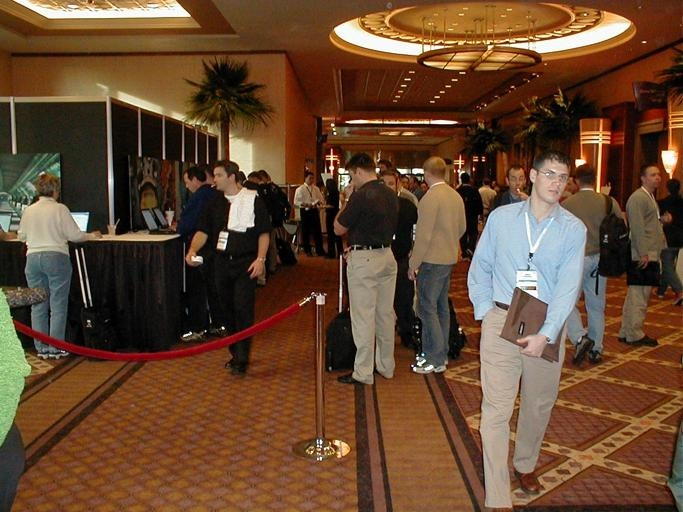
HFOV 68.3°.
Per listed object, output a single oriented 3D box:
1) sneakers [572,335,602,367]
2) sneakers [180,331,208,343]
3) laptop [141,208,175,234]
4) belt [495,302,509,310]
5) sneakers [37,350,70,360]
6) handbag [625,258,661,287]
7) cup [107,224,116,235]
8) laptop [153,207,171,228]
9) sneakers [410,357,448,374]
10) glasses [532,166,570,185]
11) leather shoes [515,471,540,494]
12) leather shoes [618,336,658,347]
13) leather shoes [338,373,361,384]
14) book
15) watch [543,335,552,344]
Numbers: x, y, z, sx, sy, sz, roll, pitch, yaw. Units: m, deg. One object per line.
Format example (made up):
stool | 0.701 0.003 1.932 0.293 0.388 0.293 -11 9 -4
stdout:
sneakers | 2.409 0.920 4.946 0.186 0.443 0.189 -3 14 0
sneakers | -1.684 0.915 5.703 0.189 0.083 0.113 -2 7 -15
laptop | -2.472 -0.470 6.856 0.333 0.296 0.648 8 7 -3
belt | 0.845 0.260 2.644 0.037 0.038 0.009 16 17 31
sneakers | -2.874 0.985 5.001 0.135 0.066 0.146 1 -3 -9
handbag | 3.142 0.161 5.231 0.276 0.333 0.104 0 2 8
cup | -2.608 -0.303 5.677 0.124 0.155 0.089 0 -1 -9
laptop | -2.563 -0.542 7.114 0.061 0.221 0.235 -14 18 -1
sneakers | 0.836 1.034 4.792 0.338 0.150 0.133 3 1 4
glasses | 1.097 -0.413 2.586 0.168 0.077 0.077 0 8 -6
leather shoes | 1.088 1.311 2.933 0.067 0.063 0.144 -1 2 -6
leather shoes | 3.280 0.944 5.589 0.381 0.165 0.148 -4 5 9
leather shoes | 0.076 1.094 4.518 0.214 0.094 0.082 6 1 8
book | 0.898 0.314 2.448 0.316 0.345 0.086 29 -10 -14
watch | 1.010 0.409 2.453 0.015 0.041 0.029 -22 18 -40
